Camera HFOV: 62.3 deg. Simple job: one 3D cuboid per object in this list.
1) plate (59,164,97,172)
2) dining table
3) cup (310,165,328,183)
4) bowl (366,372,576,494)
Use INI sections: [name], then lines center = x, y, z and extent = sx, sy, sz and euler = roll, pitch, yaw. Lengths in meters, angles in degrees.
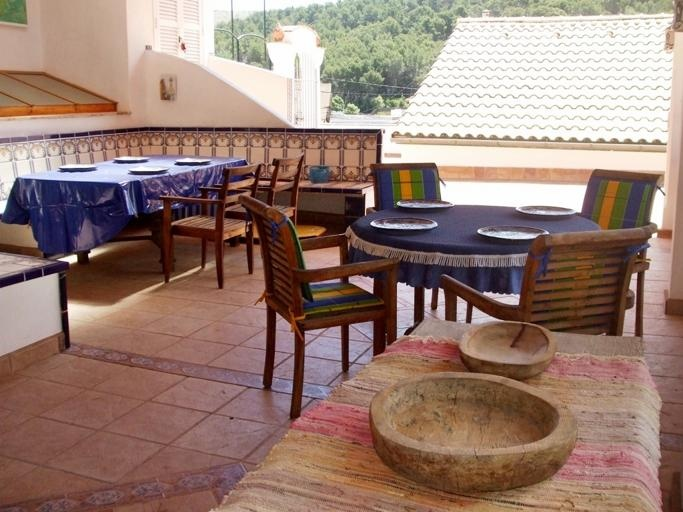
[plate]
center = -2.414, -0.802, 5.142
extent = 0.245, 0.035, 0.179
euler = -1, 4, -17
[dining table]
center = -1.848, -0.406, 5.163
extent = 1.079, 0.409, 1.681
euler = 7, 13, 23
[cup]
center = -0.250, -0.944, 6.553
extent = 0.222, 0.137, 0.205
euler = 1, 6, 0
[bowl]
center = 0.256, 0.355, 1.153
extent = 0.386, 0.077, 0.372
euler = -1, 11, 0
